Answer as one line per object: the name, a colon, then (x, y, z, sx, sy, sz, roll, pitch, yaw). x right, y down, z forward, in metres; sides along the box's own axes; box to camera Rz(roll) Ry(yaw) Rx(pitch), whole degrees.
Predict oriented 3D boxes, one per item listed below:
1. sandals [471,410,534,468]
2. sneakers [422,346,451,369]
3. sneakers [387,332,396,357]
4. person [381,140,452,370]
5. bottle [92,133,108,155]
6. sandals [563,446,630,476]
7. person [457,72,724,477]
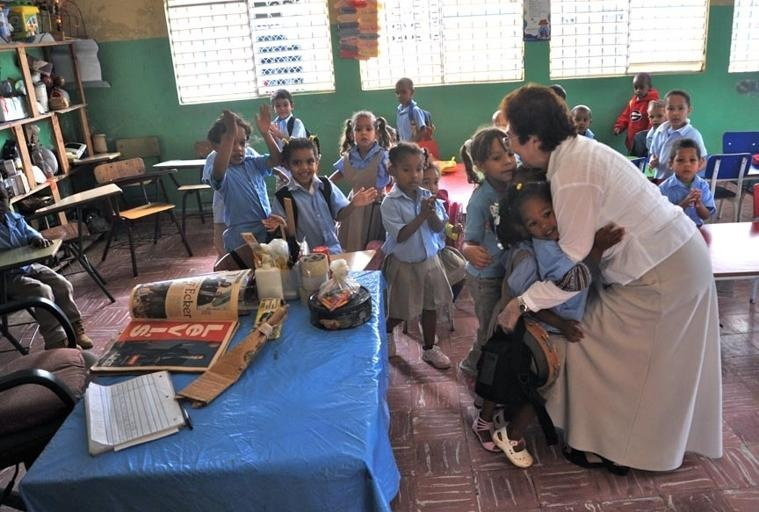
sandals: (0.671, 1.037, 3.074, 0.147, 0.169, 0.427, -15, 23, -31)
sneakers: (0.402, 0.723, 3.731, 0.201, 0.094, 0.110, 17, 34, 34)
sneakers: (0.089, 0.635, 3.802, 0.061, 0.070, 0.177, -1, 14, 1)
person: (0.264, -0.007, 3.652, 0.455, 1.538, 0.520, -2, 19, 8)
bottle: (-3.791, -1.536, 7.192, 0.179, 0.290, 0.287, 4, 14, 5)
sandals: (1.172, 1.128, 2.888, 0.317, 0.128, 0.113, 21, 59, 17)
person: (1.240, 0.164, 2.662, 1.145, 2.030, 0.395, 0, 19, 13)
